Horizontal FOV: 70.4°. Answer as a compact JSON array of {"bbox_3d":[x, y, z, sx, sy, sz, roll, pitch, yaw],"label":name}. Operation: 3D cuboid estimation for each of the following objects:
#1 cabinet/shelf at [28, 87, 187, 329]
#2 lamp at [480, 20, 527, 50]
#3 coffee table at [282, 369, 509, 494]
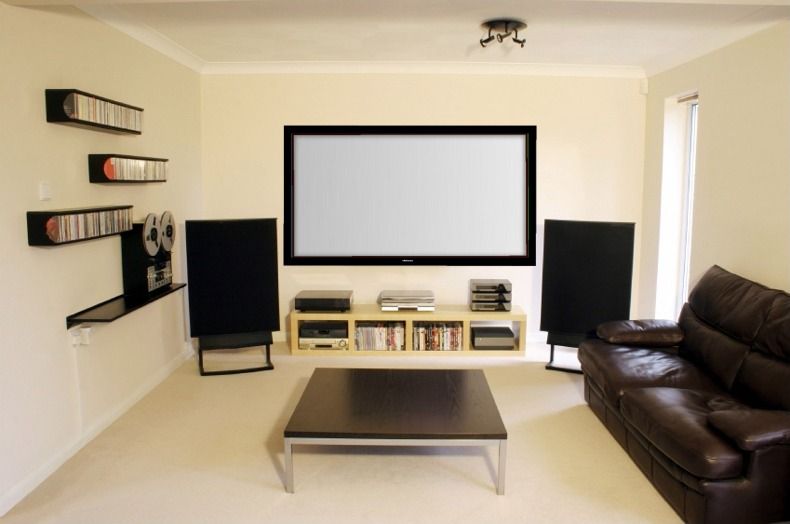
[{"bbox_3d":[-2.377,-0.446,4.778,0.435,1.681,1.899,3,7,-2],"label":"cabinet/shelf"},{"bbox_3d":[0.905,-1.951,4.723,0.244,0.098,0.248,0,1,-3],"label":"lamp"},{"bbox_3d":[-0.005,1.288,4.327,1.632,0.649,0.837,-1,8,1],"label":"coffee table"}]
